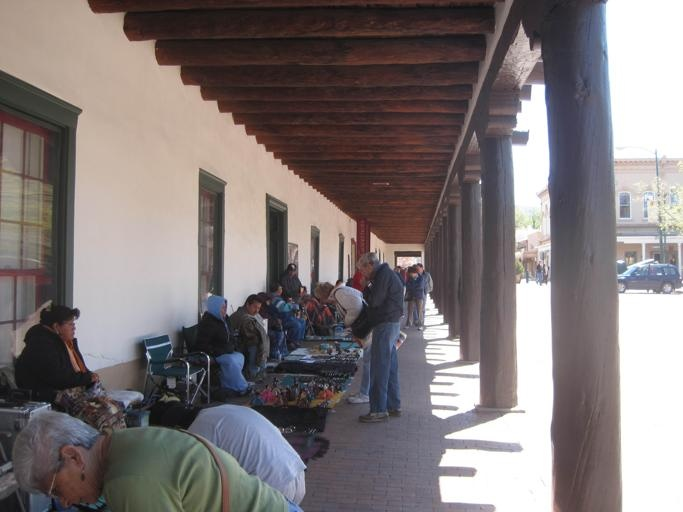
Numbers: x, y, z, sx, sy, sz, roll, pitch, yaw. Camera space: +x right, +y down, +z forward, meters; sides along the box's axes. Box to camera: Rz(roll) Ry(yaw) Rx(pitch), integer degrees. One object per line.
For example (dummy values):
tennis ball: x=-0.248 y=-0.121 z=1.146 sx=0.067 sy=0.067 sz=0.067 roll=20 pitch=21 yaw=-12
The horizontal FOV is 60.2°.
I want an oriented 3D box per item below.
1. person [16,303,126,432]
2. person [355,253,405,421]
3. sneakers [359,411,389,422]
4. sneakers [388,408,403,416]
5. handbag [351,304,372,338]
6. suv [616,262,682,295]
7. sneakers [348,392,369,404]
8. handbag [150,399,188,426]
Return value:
person: x=-2.486 y=0.935 z=5.499 sx=0.954 sy=1.567 sz=0.943 roll=-1 pitch=-3 yaw=-12
person: x=0.413 y=0.837 z=6.183 sx=0.425 sy=1.710 sz=0.565 roll=0 pitch=4 yaw=6
sneakers: x=0.323 y=1.654 z=6.068 sx=0.278 sy=0.148 sz=0.115 roll=1 pitch=-3 yaw=5
sneakers: x=0.557 y=1.645 z=6.198 sx=0.121 sy=0.064 sz=0.063 roll=4 pitch=-2 yaw=7
handbag: x=0.172 y=0.722 z=6.349 sx=0.111 sy=0.248 sz=0.315 roll=19 pitch=-37 yaw=-16
suv: x=12.827 y=0.993 z=24.544 sx=2.226 sy=1.252 sz=1.292 roll=2 pitch=-1 yaw=10
sneakers: x=0.191 y=1.639 z=6.778 sx=0.247 sy=0.132 sz=0.101 roll=2 pitch=-6 yaw=-5
handbag: x=-1.101 y=0.996 z=3.736 sx=0.157 sy=0.107 sz=0.242 roll=2 pitch=-7 yaw=-16
